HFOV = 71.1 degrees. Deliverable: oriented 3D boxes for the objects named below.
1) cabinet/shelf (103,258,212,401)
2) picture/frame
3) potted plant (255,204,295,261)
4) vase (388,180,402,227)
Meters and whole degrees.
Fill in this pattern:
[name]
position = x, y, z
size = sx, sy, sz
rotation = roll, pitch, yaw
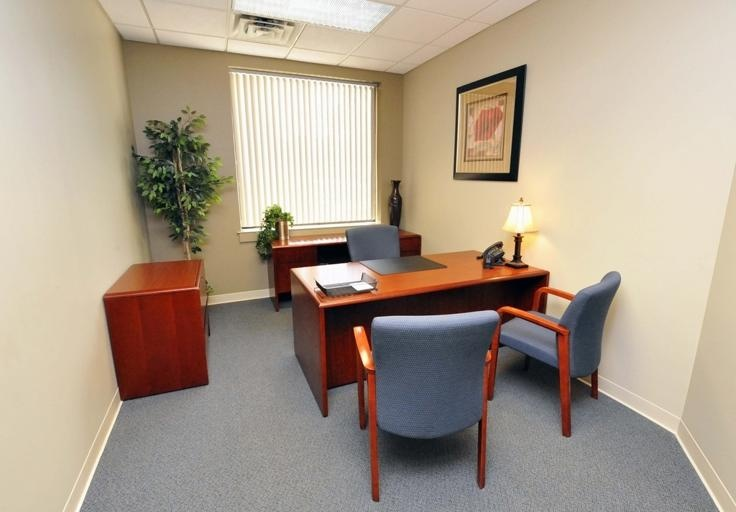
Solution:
[cabinet/shelf]
position = -1.633, 0.502, 4.169
size = 0.685, 0.960, 1.378
rotation = -3, 11, -18
[picture/frame]
position = 1.076, -1.131, 4.648
size = 0.034, 0.933, 0.838
rotation = -3, 10, -32
[potted plant]
position = -0.989, -0.232, 5.334
size = 0.376, 0.695, 0.386
rotation = 9, 11, -2
[vase]
position = 0.315, -0.595, 5.955
size = 0.170, 0.550, 0.330
rotation = 1, 11, 2
